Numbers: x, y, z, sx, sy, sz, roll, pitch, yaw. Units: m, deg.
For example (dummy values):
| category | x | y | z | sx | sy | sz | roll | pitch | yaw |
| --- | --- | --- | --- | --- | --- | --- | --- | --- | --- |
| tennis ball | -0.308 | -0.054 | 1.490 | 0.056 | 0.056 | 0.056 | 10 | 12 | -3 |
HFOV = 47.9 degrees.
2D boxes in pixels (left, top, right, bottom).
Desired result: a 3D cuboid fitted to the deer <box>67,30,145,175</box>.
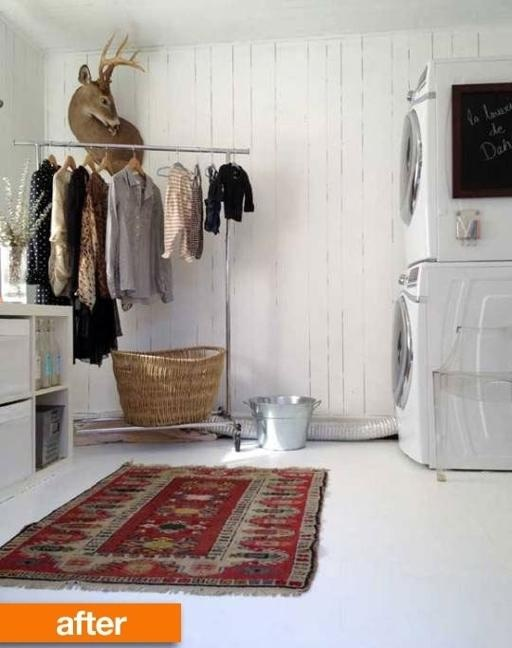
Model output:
| category | x | y | z | sx | sy | sz | roll | pitch | yaw |
| --- | --- | --- | --- | --- | --- | --- | --- | --- | --- |
| deer | -0.895 | -1.340 | 3.506 | 0.469 | 0.793 | 0.388 | 26 | 42 | 7 |

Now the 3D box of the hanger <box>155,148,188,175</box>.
| category | x | y | z | sx | sy | sz | roll | pitch | yaw |
| --- | --- | --- | --- | --- | --- | --- | --- | --- | --- |
| hanger | -0.507 | -0.973 | 3.459 | 0.240 | 0.180 | 0.042 | 2 | -2 | 12 |

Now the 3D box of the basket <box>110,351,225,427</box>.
| category | x | y | z | sx | sy | sz | roll | pitch | yaw |
| --- | --- | --- | --- | --- | --- | --- | --- | --- | --- |
| basket | -0.445 | 0.274 | 2.919 | 0.469 | 0.350 | 0.359 | 1 | -1 | -29 |

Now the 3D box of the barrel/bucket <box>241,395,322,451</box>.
| category | x | y | z | sx | sy | sz | roll | pitch | yaw |
| --- | --- | --- | --- | --- | --- | --- | --- | --- | --- |
| barrel/bucket | 0.131 | 0.491 | 2.948 | 0.283 | 0.202 | 0.262 | 0 | -9 | 0 |
